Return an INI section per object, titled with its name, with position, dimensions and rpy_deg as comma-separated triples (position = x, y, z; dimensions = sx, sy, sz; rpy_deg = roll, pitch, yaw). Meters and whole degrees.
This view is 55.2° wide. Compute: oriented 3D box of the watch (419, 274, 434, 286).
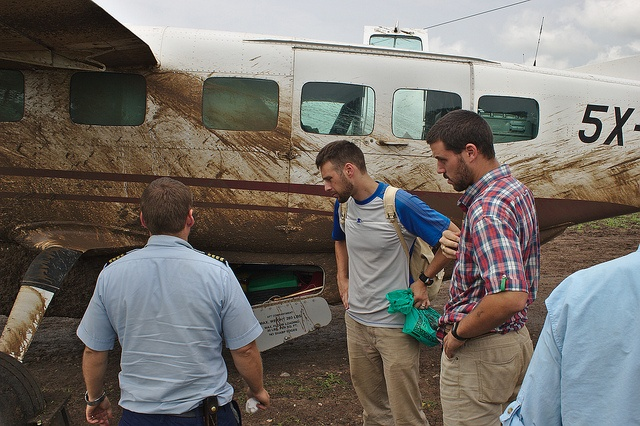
[watch]
position = 0.927, 0.580, 5.383
dimensions = 0.076, 0.054, 0.086
rpy_deg = 26, -5, 44
